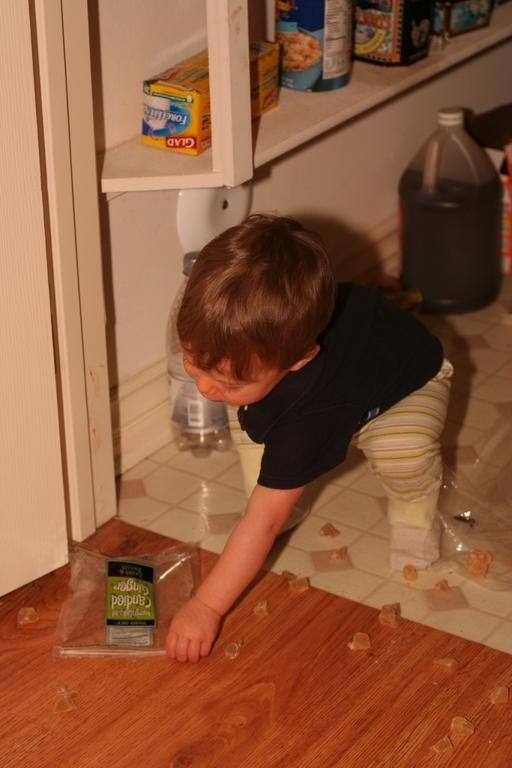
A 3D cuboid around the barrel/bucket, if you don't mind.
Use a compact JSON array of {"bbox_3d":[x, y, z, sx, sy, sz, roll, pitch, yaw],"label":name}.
[{"bbox_3d":[0.531,-0.473,1.791,0.315,0.490,0.286,-26,35,-26],"label":"barrel/bucket"}]
